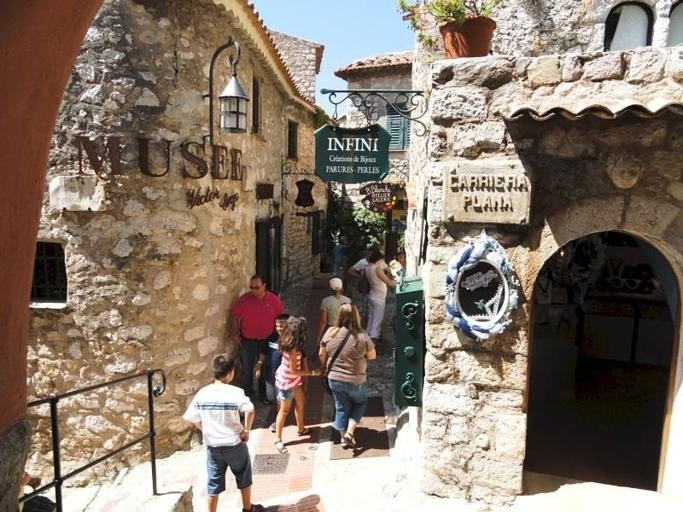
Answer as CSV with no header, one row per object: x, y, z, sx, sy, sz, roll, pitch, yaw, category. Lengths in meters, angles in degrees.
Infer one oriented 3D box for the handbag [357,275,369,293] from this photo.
0.312,0.426,8.975,0.200,0.367,0.272,1,-8,-3,handbag

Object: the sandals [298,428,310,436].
-0.438,2.057,6.948,0.135,0.056,0.058,-4,5,-31,sandals

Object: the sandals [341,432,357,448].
0.081,2.017,6.530,0.095,0.255,0.096,0,39,10,sandals

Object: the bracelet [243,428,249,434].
-0.861,1.598,5.402,0.047,0.048,0.044,3,-3,-41,bracelet

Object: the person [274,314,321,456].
-0.530,1.567,6.925,0.713,1.924,0.683,-1,28,1,person
